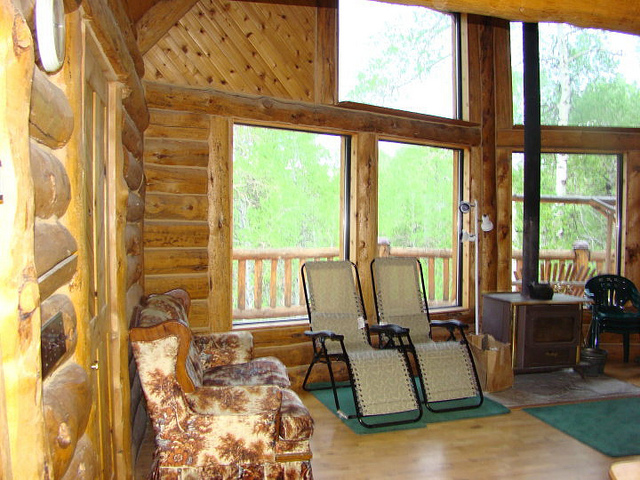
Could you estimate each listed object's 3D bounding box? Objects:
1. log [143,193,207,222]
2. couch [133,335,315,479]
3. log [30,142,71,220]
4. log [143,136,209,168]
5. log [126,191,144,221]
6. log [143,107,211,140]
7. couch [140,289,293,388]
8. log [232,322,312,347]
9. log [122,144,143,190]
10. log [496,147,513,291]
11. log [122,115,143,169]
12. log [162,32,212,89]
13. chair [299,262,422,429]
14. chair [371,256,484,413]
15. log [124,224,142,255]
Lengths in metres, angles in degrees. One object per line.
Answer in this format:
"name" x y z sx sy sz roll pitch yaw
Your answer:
"log" -1.158 -0.259 4.101 0.489 0.217 0.078 -2 5 -27
"couch" -0.554 0.922 3.070 0.916 0.944 0.730 -1 0 -11
"log" -0.870 -0.199 1.655 0.068 0.207 0.194 3 1 -9
"log" -1.163 -0.719 4.125 0.502 0.236 0.041 -1 5 -16
"log" -1.240 -0.221 3.419 0.022 0.205 0.905 -1 5 -15
"log" -1.179 -0.942 4.095 0.514 0.278 0.126 -1 5 -17
"couch" -0.690 0.756 3.392 0.871 0.963 0.696 0 1 -15
"log" -0.389 0.848 4.507 0.671 0.182 0.123 -2 5 -28
"log" -1.170 -0.434 3.127 0.065 0.236 0.208 -1 -4 12
"log" 1.963 -0.226 5.455 0.170 1.535 0.146 0 5 -4
"log" -1.191 -0.621 3.233 0.120 0.512 0.070 -2 -37 -11
"log" -1.103 -1.485 4.183 0.347 0.429 0.142 -4 4 -33
"chair" 0.276 0.849 4.058 0.720 1.080 1.271 -1 -5 -16
"chair" 0.862 0.763 4.284 0.647 0.905 1.210 0 7 -16
"log" -1.217 -0.027 3.319 0.021 0.178 0.803 -1 5 -14
